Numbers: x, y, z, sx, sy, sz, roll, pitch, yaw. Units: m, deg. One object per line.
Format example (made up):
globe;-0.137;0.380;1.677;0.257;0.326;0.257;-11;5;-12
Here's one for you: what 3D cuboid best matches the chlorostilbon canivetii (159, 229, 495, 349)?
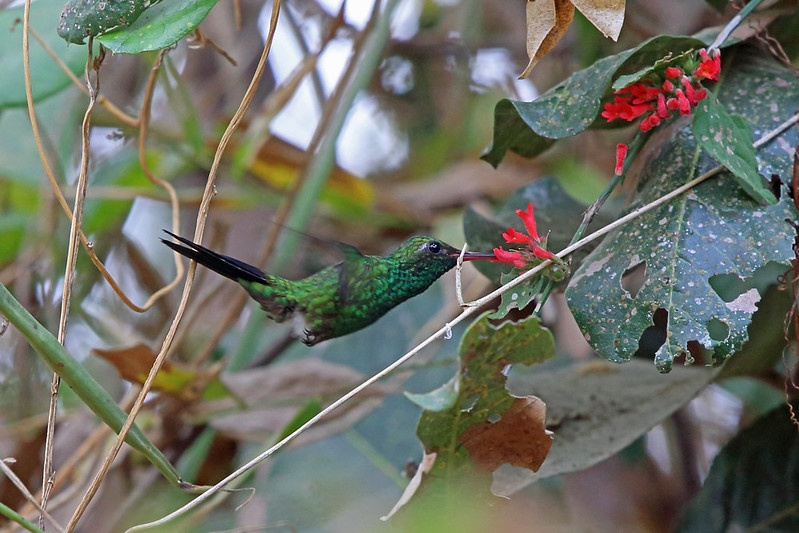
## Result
chlorostilbon canivetii;-0.090;0.038;1.444;0.207;0.624;0.236;-167;77;-89
